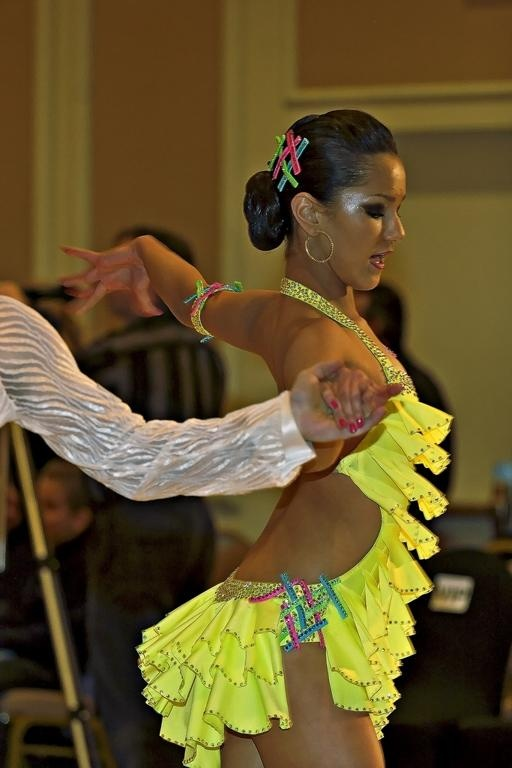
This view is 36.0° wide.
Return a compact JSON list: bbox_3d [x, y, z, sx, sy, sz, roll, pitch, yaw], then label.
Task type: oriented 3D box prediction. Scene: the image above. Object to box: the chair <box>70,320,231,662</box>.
[{"bbox_3d":[-0.239,0.240,2.316,0.324,0.731,0.644,3,-2,-15],"label":"chair"}]
